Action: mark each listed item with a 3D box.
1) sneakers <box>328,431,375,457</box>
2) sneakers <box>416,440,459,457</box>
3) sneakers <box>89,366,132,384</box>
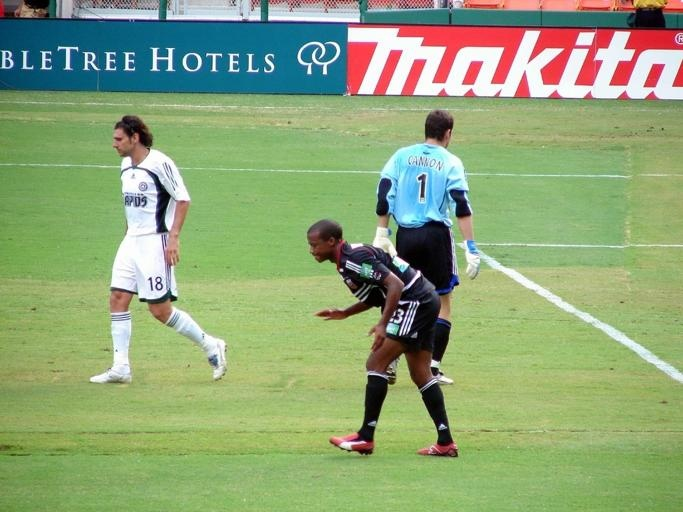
[{"bbox_3d":[0.160,2.406,19.796,0.601,0.233,0.229,12,1,-8],"label":"sneakers"},{"bbox_3d":[1.255,2.494,19.945,0.539,0.167,0.176,3,-2,7],"label":"sneakers"},{"bbox_3d":[-3.196,1.663,21.571,0.647,0.200,0.207,1,2,-1],"label":"sneakers"}]
